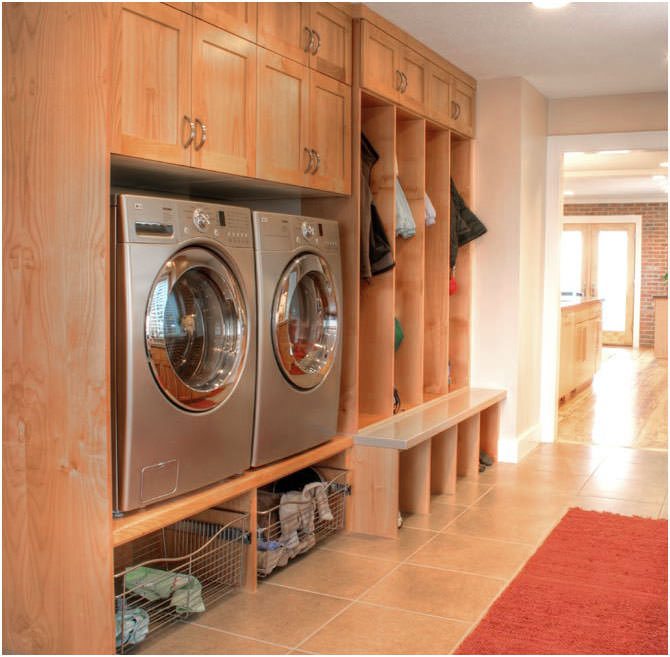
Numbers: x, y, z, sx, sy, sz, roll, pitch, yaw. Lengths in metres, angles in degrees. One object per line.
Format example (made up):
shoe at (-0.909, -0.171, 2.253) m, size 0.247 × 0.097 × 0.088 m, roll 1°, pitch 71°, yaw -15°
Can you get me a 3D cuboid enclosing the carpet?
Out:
carpet at (1.029, 0.990, 2.340) m, size 0.565 × 0.096 × 1.679 m, roll 3°, pitch 2°, yaw 32°
